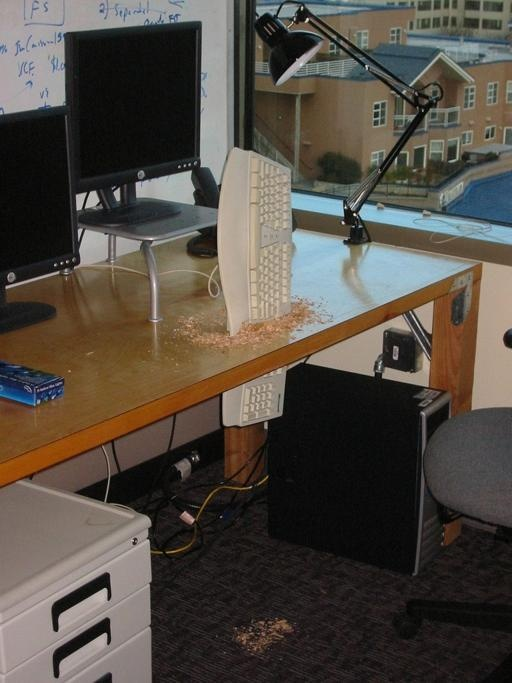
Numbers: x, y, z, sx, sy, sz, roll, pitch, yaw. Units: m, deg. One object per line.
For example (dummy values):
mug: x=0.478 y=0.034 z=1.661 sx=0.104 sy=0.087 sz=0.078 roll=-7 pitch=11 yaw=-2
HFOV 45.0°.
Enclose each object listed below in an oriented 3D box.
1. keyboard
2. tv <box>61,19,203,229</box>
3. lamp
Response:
keyboard: x=0.011 y=-0.096 z=1.214 sx=0.077 sy=0.532 sz=0.251 roll=7 pitch=15 yaw=30
tv: x=-0.278 y=-0.488 z=1.372 sx=0.175 sy=0.450 sz=0.476 roll=21 pitch=35 yaw=25
lamp: x=0.281 y=-0.600 z=1.709 sx=0.420 sy=0.661 sz=0.593 roll=4 pitch=14 yaw=20
